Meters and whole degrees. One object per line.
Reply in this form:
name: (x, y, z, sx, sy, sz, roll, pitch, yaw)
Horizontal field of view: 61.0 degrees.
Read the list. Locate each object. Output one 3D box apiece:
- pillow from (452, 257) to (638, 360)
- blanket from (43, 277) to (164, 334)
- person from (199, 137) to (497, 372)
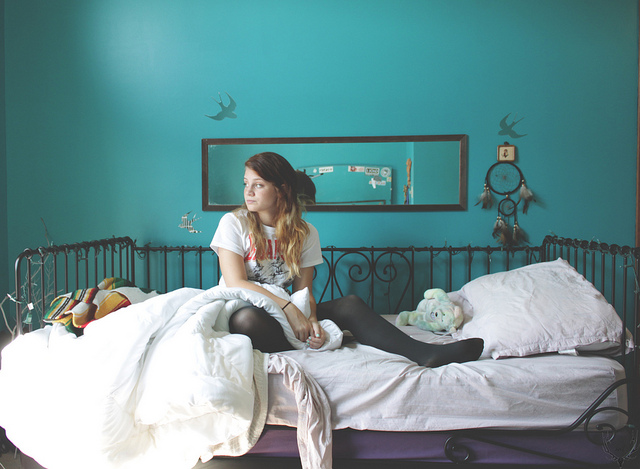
pillow: (1.168, 0.420, 2.858, 0.613, 0.196, 0.647, -20, 43, 4)
blanket: (-1.125, 0.345, 2.785, 0.320, 0.107, 0.331, 3, 10, 44)
person: (0.014, 0.178, 3.080, 1.489, 1.152, 1.202, 7, 5, 29)
